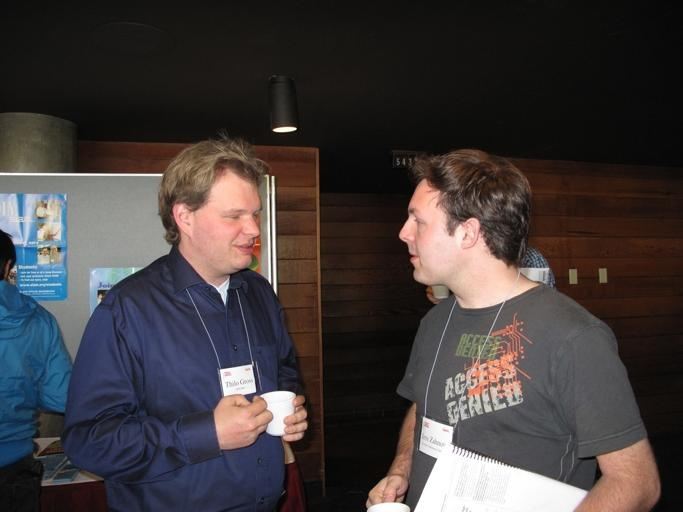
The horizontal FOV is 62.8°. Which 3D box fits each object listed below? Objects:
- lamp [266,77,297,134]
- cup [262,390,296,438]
[{"bbox_3d":[-0.370,-0.994,3.561,0.169,0.309,0.170,-3,-1,-6],"label":"lamp"},{"bbox_3d":[-0.243,0.617,2.224,0.152,0.140,0.174,-1,-7,-2],"label":"cup"}]
